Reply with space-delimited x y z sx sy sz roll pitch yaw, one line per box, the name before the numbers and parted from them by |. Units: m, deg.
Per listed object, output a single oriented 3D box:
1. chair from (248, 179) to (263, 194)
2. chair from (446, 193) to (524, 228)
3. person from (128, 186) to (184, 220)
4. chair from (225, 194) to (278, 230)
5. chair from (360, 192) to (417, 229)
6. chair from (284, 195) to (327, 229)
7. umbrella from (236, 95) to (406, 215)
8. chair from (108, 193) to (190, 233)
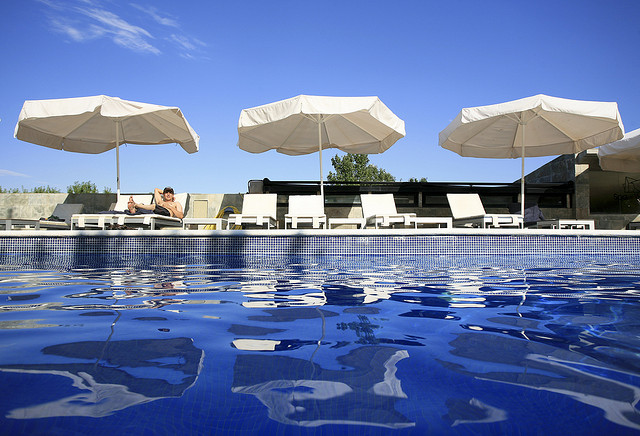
chair | -1.600 -0.789 11.294 0.572 0.454 0.295 0 4 -5
chair | 3.263 -0.159 8.945 0.773 0.661 1.335 -1 -2 -10
person | -3.077 -0.259 8.189 0.600 0.554 1.088 12 7 23
chair | -1.639 -0.132 8.562 0.856 0.767 1.226 5 0 -37
chair | 1.311 -0.191 8.967 0.634 0.607 1.143 0 -4 -10
chair | -0.314 -0.137 8.979 0.820 0.502 0.764 0 -3 -1
umbrella | 0.089 -1.333 8.926 3.631 2.087 3.238 -2 -10 1
chair | -3.038 -0.086 8.158 0.893 0.597 1.224 2 5 20
